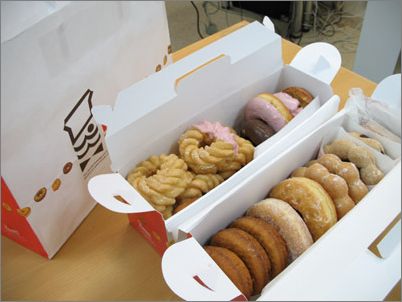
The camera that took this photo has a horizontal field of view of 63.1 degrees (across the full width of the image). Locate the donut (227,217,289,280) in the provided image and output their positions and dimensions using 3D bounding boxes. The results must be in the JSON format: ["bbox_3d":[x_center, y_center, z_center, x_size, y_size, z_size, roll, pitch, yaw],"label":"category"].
[{"bbox_3d":[0.149,0.213,0.802,0.038,0.128,0.130,-39,89,-12],"label":"donut"}]

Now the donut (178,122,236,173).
[{"bbox_3d":[0.018,-0.012,0.942,0.147,0.063,0.148,35,57,27],"label":"donut"}]

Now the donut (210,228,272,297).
[{"bbox_3d":[0.095,0.249,0.748,0.048,0.131,0.144,-25,94,-29],"label":"donut"}]

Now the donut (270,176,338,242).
[{"bbox_3d":[0.262,0.133,0.830,0.143,0.150,0.047,50,34,20],"label":"donut"}]

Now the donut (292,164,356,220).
[{"bbox_3d":[0.326,0.091,0.863,0.048,0.142,0.127,-21,41,-38],"label":"donut"}]

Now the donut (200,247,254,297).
[{"bbox_3d":[0.064,0.265,0.741,0.031,0.103,0.105,-40,29,-6],"label":"donut"}]

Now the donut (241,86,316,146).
[{"bbox_3d":[0.241,-0.069,1.075,0.068,0.192,0.201,50,51,2],"label":"donut"}]

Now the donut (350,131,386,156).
[{"bbox_3d":[0.474,-0.028,0.920,0.067,0.024,0.055,34,28,15],"label":"donut"}]

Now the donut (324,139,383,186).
[{"bbox_3d":[0.432,0.027,0.943,0.151,0.050,0.083,37,81,16],"label":"donut"}]

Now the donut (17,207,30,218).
[{"bbox_3d":[-0.436,0.151,0.808,0.027,0.033,0.008,-22,52,-17],"label":"donut"}]
